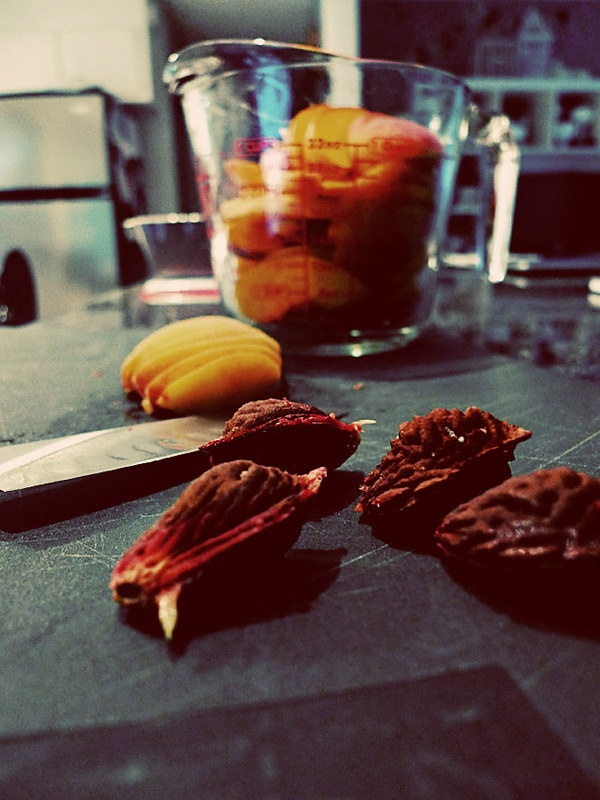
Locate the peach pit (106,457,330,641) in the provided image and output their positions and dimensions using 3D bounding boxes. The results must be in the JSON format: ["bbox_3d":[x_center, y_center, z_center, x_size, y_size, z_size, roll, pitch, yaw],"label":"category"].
[{"bbox_3d":[-0.039,0.061,0.432,0.107,0.067,0.092,10,16,37],"label":"peach pit"}]
